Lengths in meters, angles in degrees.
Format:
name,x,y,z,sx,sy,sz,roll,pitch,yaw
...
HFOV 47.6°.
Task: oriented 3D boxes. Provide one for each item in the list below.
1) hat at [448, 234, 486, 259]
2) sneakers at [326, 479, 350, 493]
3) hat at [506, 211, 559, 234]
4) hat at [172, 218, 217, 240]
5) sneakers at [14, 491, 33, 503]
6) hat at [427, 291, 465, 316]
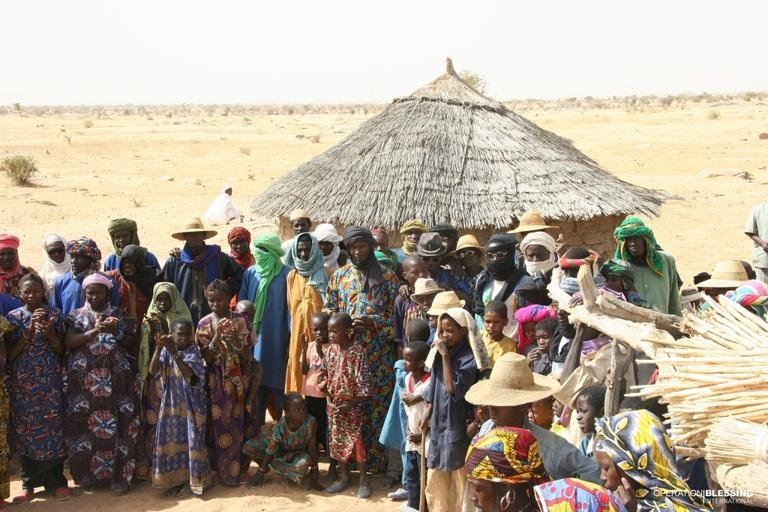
name,x,y,z,sx,sy,sz,roll,pitch,yaw
hat,1.001,-0.096,10.803,0.439,0.179,0.396,-2,-13,1
sneakers,-0.512,2.558,9.617,0.247,0.081,0.119,-6,10,-28
hat,1.946,-0.423,11.416,0.528,0.179,0.483,-8,-4,-5
hat,-2.404,-0.382,10.935,0.444,0.141,0.433,-1,-16,-5
sneakers,-3.951,2.664,9.560,0.099,0.063,0.224,19,7,14
hat,0.615,0.521,8.926,0.355,0.259,0.544,-1,9,3
